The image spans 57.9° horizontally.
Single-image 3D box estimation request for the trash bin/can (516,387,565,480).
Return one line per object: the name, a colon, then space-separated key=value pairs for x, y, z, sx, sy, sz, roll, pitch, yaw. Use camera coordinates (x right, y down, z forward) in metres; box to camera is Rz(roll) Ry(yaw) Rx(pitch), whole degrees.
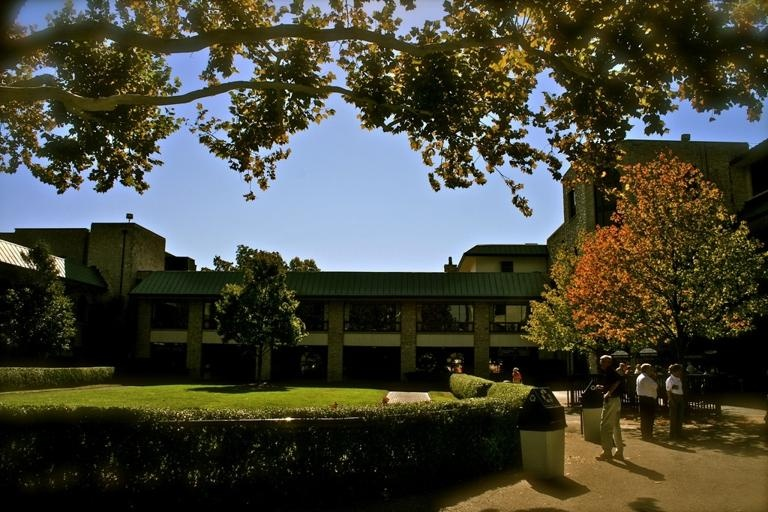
trash bin/can: x=3.681 y=4.045 z=15.978 sx=1.071 sy=1.998 sz=0.684 roll=0 pitch=-1 yaw=-19
